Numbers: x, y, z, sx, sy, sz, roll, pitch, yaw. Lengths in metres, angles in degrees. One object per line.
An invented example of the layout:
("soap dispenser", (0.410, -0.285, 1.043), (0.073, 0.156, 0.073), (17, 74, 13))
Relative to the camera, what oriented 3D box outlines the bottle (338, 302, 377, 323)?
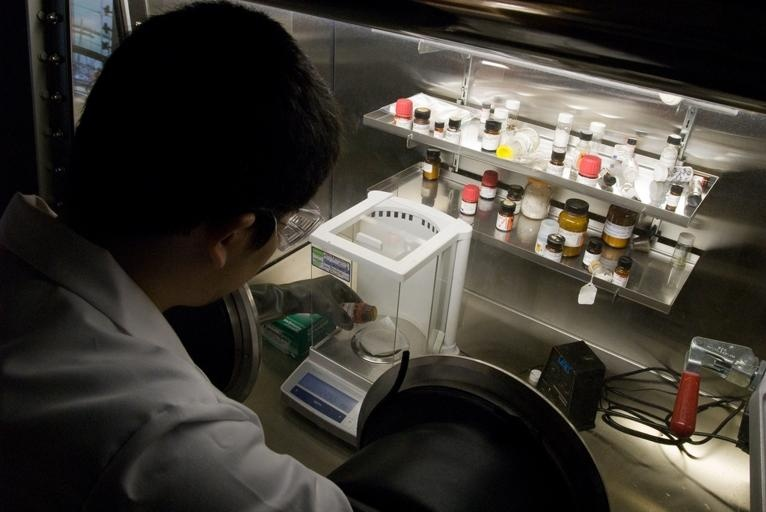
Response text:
("bottle", (-0.079, 0.166, 1.615), (0.089, 0.055, 0.043), (8, 11, 11))
